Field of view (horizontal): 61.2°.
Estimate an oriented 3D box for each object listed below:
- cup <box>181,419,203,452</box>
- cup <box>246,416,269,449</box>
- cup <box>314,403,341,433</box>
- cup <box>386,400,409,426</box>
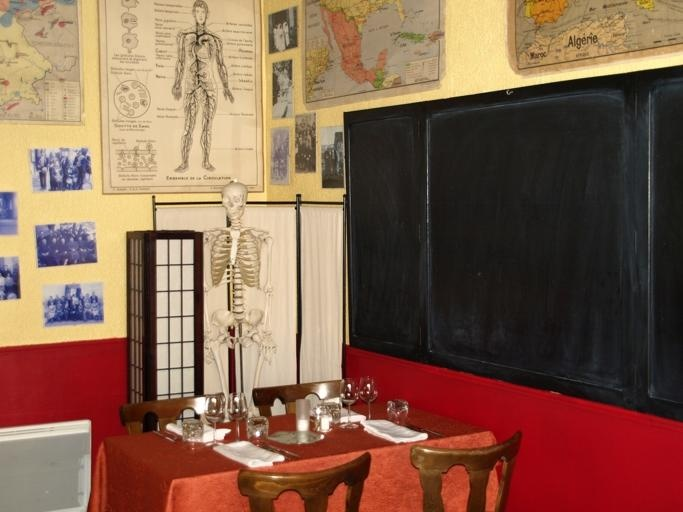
[{"bbox_3d":[-0.788,0.944,3.025,0.112,0.143,0.118,1,-5,0],"label":"cup"},{"bbox_3d":[-0.458,0.949,3.126,0.106,0.125,0.113,1,-5,0],"label":"cup"},{"bbox_3d":[-0.080,0.925,3.330,0.133,0.147,0.127,-1,4,0],"label":"cup"},{"bbox_3d":[0.338,0.947,3.486,0.117,0.148,0.124,0,-8,0],"label":"cup"}]
